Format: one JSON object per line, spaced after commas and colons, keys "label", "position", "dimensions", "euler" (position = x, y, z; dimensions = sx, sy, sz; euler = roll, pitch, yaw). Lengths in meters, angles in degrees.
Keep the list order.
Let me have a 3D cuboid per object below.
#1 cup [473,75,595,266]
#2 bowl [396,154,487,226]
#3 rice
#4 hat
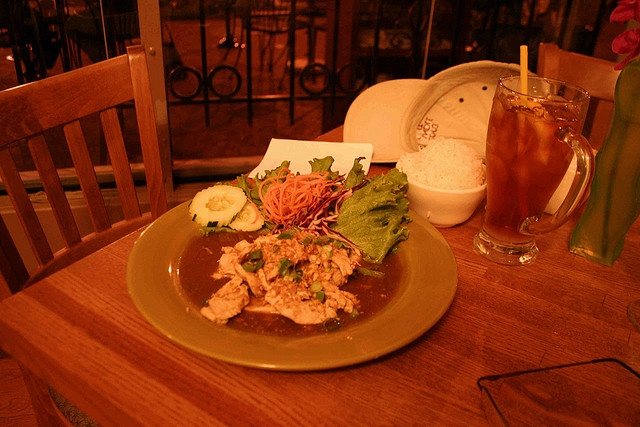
{"label": "cup", "position": [0.545, -0.064, 1.227], "dimensions": [0.239, 0.559, 0.259], "euler": [-1, 27, 0]}
{"label": "bowl", "position": [0.352, -0.086, 1.366], "dimensions": [0.189, 0.193, 0.243], "euler": [-11, 22, -30]}
{"label": "rice", "position": [0.361, -0.162, 1.387], "dimensions": [0.217, 0.160, 0.224], "euler": [-14, 22, -30]}
{"label": "hat", "position": [0.495, -0.432, 1.755], "dimensions": [0.531, 0.360, 0.781], "euler": [-9, 22, -20]}
